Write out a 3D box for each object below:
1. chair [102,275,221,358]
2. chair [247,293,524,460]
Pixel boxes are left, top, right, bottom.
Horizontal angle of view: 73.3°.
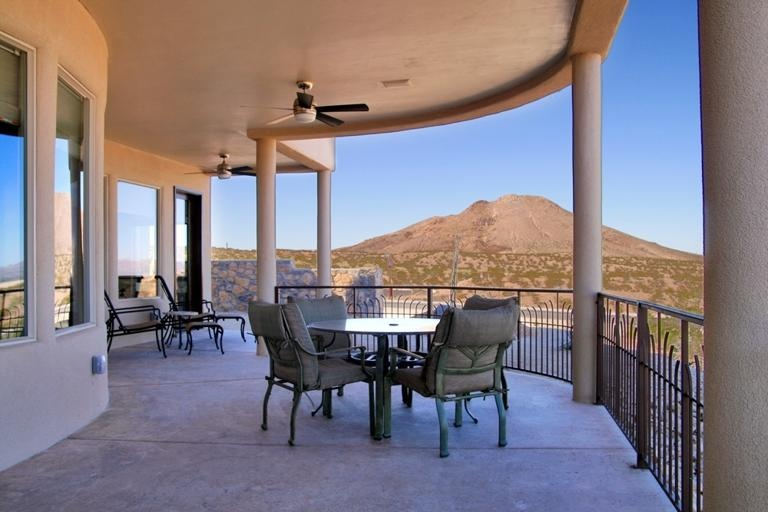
[{"bbox_3d":[-3.687,1.082,8.694,1.710,1.051,1.065,-1,-2,-11],"label":"chair"},{"bbox_3d":[0.039,0.940,4.409,1.660,0.744,1.634,1,-5,-9],"label":"chair"}]
